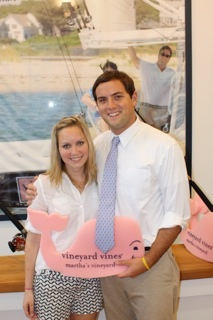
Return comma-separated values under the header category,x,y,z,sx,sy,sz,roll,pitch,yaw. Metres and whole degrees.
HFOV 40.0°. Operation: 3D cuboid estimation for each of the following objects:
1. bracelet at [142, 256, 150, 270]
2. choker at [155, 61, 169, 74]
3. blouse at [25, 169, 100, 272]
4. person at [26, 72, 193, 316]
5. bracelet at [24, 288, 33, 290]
category,x,y,z,sx,sy,sz,roll,pitch,yaw
bracelet,0.149,0.398,1.128,0.009,0.037,0.033,-23,15,1
choker,0.363,-0.607,1.912,0.086,0.084,0.009,-10,10,5
blouse,-0.148,0.268,1.300,0.397,0.499,0.202,-2,-3,-21
person,0.124,0.169,1.247,0.445,1.100,0.392,-8,10,15
bracelet,-0.322,0.534,1.216,0.025,0.006,0.024,1,-2,5
